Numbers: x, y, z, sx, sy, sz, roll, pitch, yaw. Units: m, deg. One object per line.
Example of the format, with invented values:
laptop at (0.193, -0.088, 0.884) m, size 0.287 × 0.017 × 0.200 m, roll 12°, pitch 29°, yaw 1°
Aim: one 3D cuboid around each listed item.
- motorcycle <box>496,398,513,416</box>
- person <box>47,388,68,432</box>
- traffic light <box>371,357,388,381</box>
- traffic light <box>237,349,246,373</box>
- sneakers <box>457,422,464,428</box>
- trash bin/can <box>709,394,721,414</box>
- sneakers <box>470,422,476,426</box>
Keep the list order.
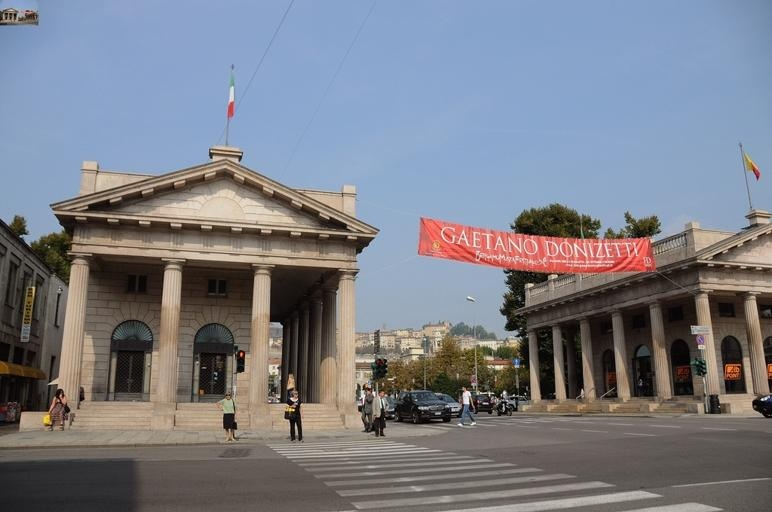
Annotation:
motorcycle at (9.324, 12.109, 50.035) m, size 0.954 × 1.125 × 0.676 m, roll -10°, pitch -18°, yaw 23°
person at (-15.603, 7.396, 30.112) m, size 0.600 × 1.985 × 0.770 m, roll -9°, pitch -18°, yaw 21°
traffic light at (-0.378, 6.293, 35.151) m, size 0.835 × 1.210 × 1.842 m, roll -2°, pitch -17°, yaw -3°
traffic light at (-7.148, 5.239, 31.033) m, size 0.256 × 0.965 × 0.404 m, roll -2°, pitch -16°, yaw -1°
sneakers at (4.032, 9.260, 34.260) m, size 0.263 × 0.214 × 0.483 m, roll -4°, pitch -24°, yaw 23°
trash bin/can at (19.410, 8.857, 37.349) m, size 0.617 × 1.191 × 1.205 m, roll -13°, pitch -20°, yaw 32°
sneakers at (4.725, 9.205, 34.212) m, size 0.140 × 0.193 × 0.415 m, roll 1°, pitch -5°, yaw -36°
